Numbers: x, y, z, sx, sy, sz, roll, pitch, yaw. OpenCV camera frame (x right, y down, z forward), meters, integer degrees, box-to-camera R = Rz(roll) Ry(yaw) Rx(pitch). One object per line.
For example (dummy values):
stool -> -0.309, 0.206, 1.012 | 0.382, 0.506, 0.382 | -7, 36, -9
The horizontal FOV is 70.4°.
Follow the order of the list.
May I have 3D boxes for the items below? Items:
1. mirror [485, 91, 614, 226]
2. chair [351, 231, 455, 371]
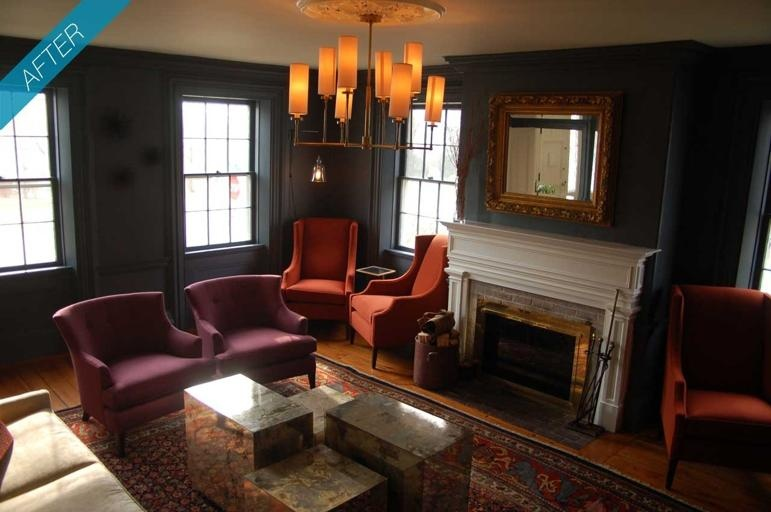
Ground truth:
mirror -> 1.626, -0.973, 5.285 | 1.298, 1.186, 0.176 | 10, 15, 39
chair -> 0.380, 0.407, 6.515 | 1.485, 1.731, 1.221 | -4, 11, -21
